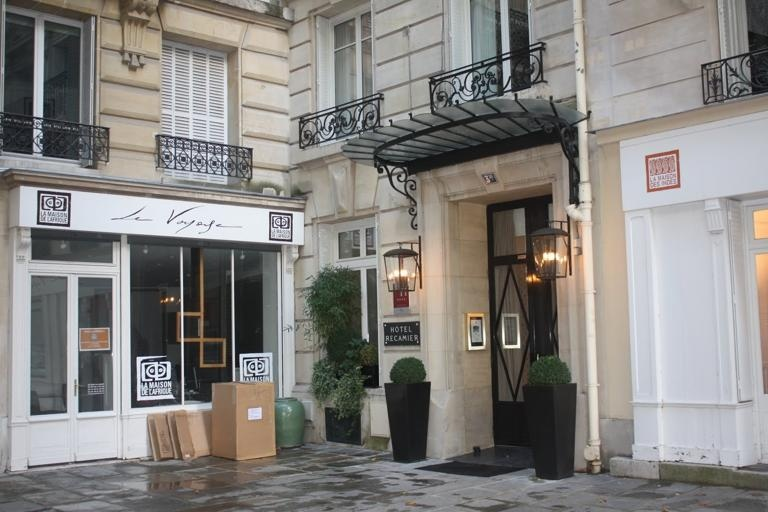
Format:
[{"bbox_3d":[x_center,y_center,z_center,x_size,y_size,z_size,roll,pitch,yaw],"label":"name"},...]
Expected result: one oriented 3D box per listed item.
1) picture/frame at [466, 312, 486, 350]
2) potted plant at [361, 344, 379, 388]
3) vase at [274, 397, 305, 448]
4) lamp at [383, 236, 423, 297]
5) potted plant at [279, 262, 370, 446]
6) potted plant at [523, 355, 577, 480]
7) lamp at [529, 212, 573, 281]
[{"bbox_3d":[1.629,1.374,14.883,0.645,0.754,0.103,7,-12,-43],"label":"picture/frame"},{"bbox_3d":[-0.280,2.076,15.442,0.311,0.730,0.319,-3,4,-5],"label":"potted plant"},{"bbox_3d":[-1.810,3.188,15.699,0.545,0.875,0.408,-3,4,-8],"label":"vase"},{"bbox_3d":[0.304,0.146,14.978,0.769,1.030,0.759,-2,1,8],"label":"lamp"},{"bbox_3d":[-0.884,1.859,15.833,0.936,3.313,1.631,-6,5,-37],"label":"potted plant"},{"bbox_3d":[2.542,2.487,12.649,0.773,1.835,0.498,-2,4,8],"label":"potted plant"},{"bbox_3d":[2.722,-0.131,13.280,0.508,0.971,0.652,0,5,31],"label":"lamp"}]
